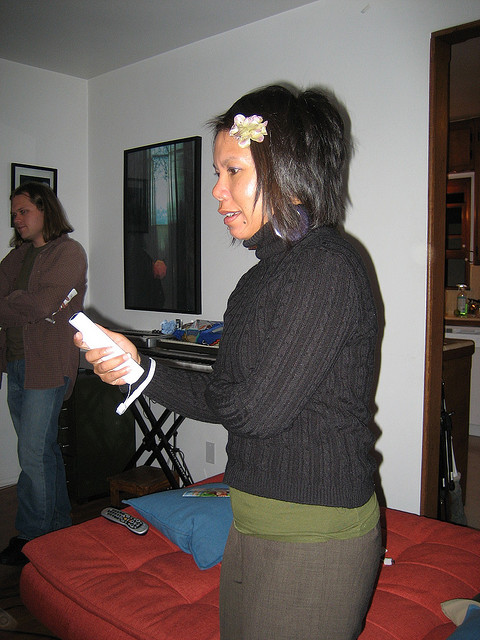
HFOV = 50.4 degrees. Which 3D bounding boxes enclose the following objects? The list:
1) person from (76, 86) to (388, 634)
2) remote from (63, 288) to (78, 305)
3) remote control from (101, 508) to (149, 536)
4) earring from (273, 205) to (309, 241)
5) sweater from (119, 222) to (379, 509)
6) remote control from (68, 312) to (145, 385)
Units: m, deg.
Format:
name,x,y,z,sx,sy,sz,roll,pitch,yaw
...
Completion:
name,x,y,z,sx,sy,sz,roll,pitch,yaw
person,0.051,0.042,0.649,0.237,0.717,0.211,0,1,20
remote,-0.797,-0.111,2.373,0.025,0.093,0.024,34,16,-19
remote control,-0.372,0.633,1.652,0.058,0.027,0.195,-1,9,-42
earring,0.067,-0.114,0.661,0.043,0.031,0.042,-27,-21,0
sweater,0.048,0.045,0.651,0.237,0.349,0.209,0,2,26
remote control,-0.203,0.027,0.763,0.188,0.044,0.025,-39,-33,14
